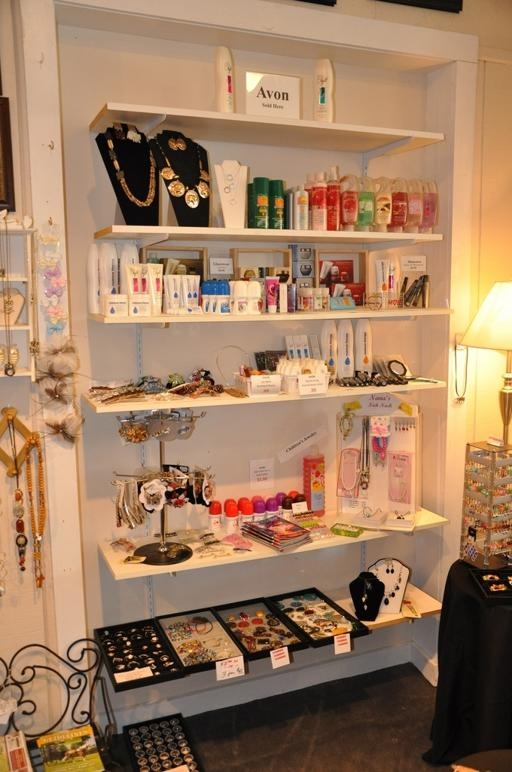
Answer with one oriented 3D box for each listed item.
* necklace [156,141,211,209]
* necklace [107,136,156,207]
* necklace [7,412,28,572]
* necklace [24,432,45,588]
[{"bbox_3d":[-0.238,-0.710,2.082,0.177,0.219,0.051,-21,16,-36],"label":"necklace"},{"bbox_3d":[-0.405,-0.678,2.042,0.138,0.252,0.063,-18,7,-28],"label":"necklace"},{"bbox_3d":[-0.807,0.377,2.163,0.043,0.552,0.093,-4,10,-22],"label":"necklace"},{"bbox_3d":[-0.752,0.434,2.187,0.063,0.557,0.072,-3,9,-20],"label":"necklace"}]
